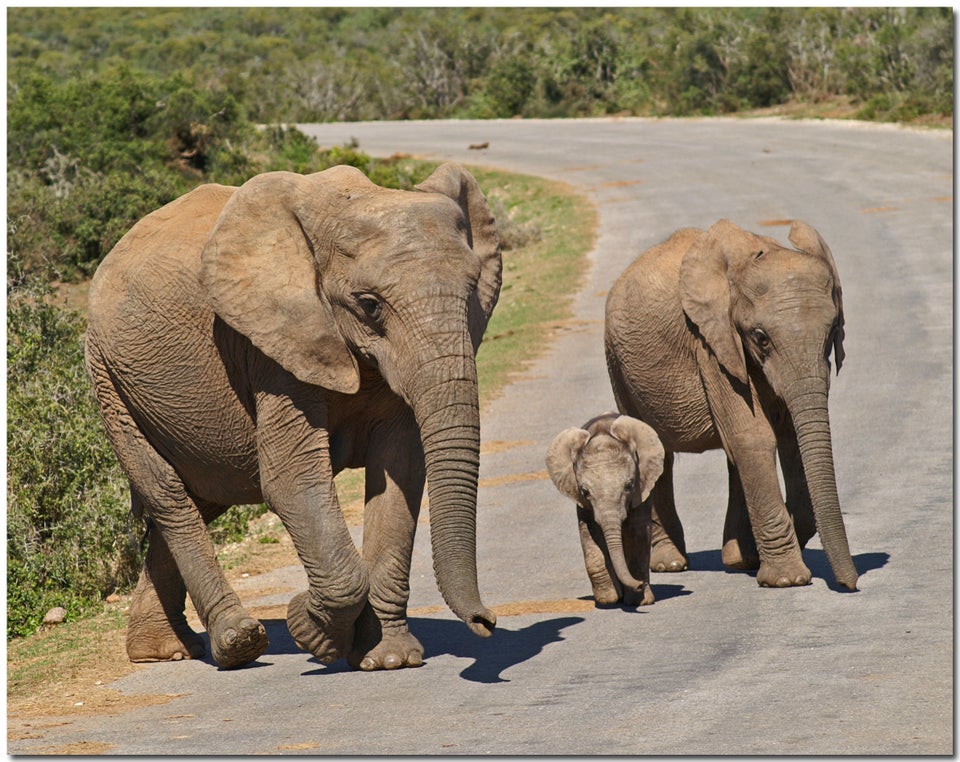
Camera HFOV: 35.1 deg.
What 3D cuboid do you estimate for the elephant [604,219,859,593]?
[{"bbox_3d":[2.161,0.225,12.759,1.364,2.883,3.091,-2,3,-28],"label":"elephant"}]

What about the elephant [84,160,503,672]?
[{"bbox_3d":[-1.432,0.418,11.018,3.726,3.453,2.135,-1,1,40],"label":"elephant"}]

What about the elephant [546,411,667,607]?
[{"bbox_3d":[1.089,1.020,11.631,0.739,1.365,1.140,-11,12,-25],"label":"elephant"}]
